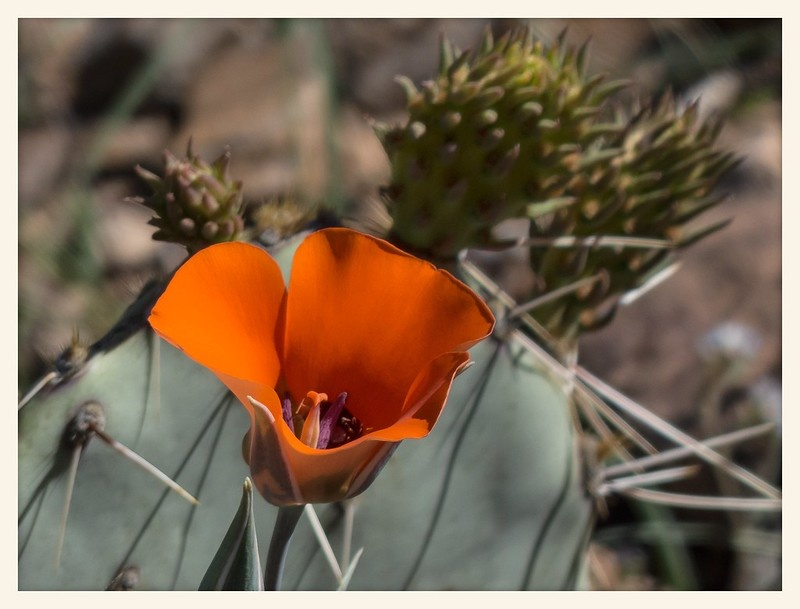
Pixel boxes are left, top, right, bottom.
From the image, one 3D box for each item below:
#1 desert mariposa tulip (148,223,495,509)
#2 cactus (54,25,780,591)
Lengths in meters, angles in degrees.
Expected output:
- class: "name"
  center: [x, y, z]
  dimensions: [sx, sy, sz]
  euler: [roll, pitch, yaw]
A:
- class: "desert mariposa tulip"
  center: [-0.152, 0.017, 1.229]
  dimensions: [0.491, 0.449, 0.367]
  euler: [-18, 30, -33]
- class: "cactus"
  center: [0.052, 0.024, 1.337]
  dimensions: [0.785, 0.889, 0.391]
  euler: [12, 12, 5]
